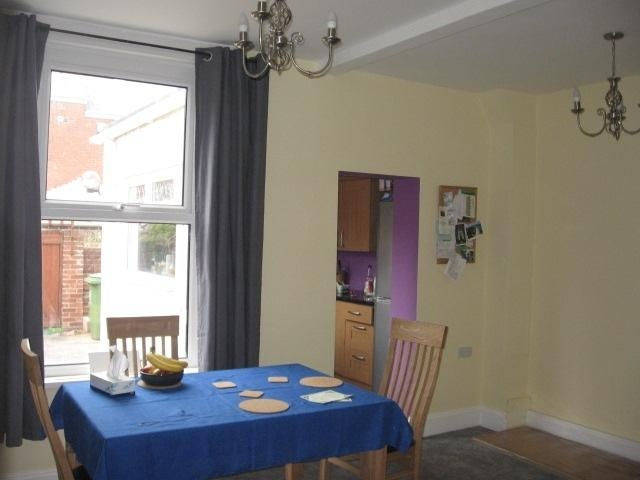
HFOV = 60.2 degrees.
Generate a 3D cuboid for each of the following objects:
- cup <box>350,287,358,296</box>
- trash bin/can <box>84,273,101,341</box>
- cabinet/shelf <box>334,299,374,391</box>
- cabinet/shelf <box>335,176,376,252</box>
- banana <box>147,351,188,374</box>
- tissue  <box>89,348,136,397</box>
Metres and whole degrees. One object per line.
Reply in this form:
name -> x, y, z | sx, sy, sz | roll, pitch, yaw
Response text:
cup -> 0.393, 0.596, 6.494 | 0.061, 0.083, 0.111 | 2, 1, -16
trash bin/can -> -1.724, 0.498, 4.180 | 0.119, 0.472, 0.125 | 1, 14, -23
cabinet/shelf -> 0.512, 1.134, 6.074 | 0.549, 0.915, 0.581 | -3, 7, -36
cabinet/shelf -> 0.381, -0.295, 6.185 | 0.216, 0.873, 0.695 | -2, 16, -34
banana -> -0.946, 0.728, 3.368 | 0.223, 0.081, 0.112 | 11, 9, 24
tissue  -> -1.236, 0.762, 3.296 | 0.134, 0.256, 0.344 | 2, -5, -43
